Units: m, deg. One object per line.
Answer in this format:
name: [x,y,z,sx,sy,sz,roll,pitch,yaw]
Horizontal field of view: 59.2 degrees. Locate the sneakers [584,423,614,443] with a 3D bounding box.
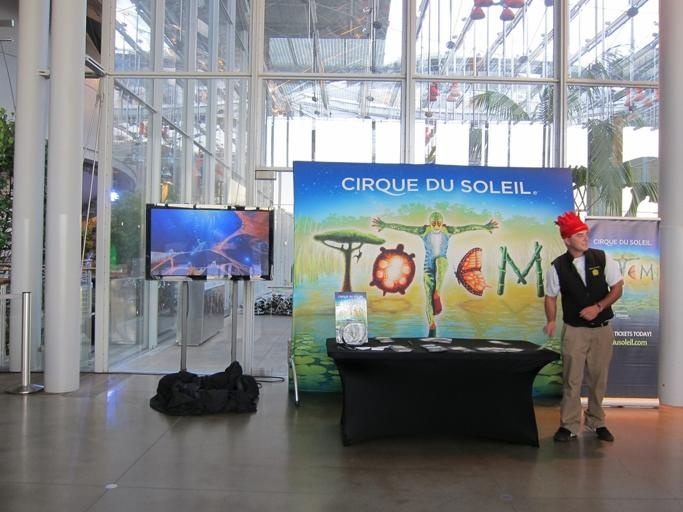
sneakers: [2.503,1.719,5.870,0.114,0.133,0.312,0,-9,-16]

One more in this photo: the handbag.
handbag: [-1.507,1.450,6.602,1.179,0.439,0.714,0,-1,-10]

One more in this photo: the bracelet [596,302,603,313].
bracelet: [2.408,0.482,5.618,0.056,0.091,0.083,-1,-30,6]

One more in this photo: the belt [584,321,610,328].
belt: [2.442,0.645,5.694,0.235,0.069,0.043,0,-1,-15]

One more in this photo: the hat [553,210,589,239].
hat: [2.206,-0.291,5.804,0.222,0.236,0.291,-28,19,-39]
